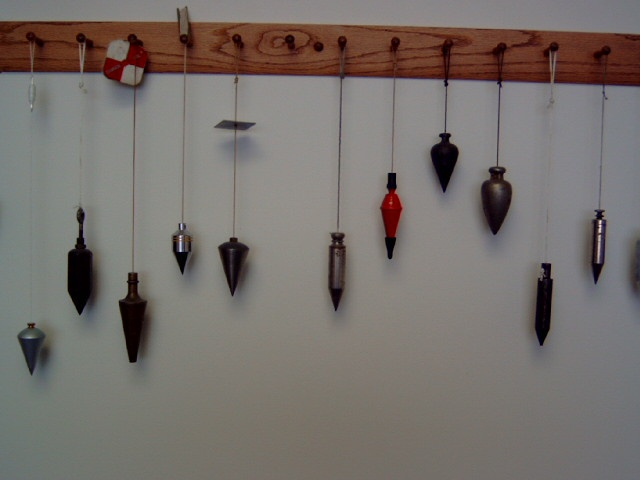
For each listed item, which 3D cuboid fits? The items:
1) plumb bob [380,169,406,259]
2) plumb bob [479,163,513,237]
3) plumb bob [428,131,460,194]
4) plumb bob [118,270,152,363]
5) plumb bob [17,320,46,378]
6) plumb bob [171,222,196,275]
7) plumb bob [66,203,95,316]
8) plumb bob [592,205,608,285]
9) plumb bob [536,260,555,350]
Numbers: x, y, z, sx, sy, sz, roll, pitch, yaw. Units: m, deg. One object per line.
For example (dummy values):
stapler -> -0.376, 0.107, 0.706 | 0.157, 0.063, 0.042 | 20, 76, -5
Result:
plumb bob -> 0.235, -0.081, 2.824 | 0.071, 0.289, 0.099 | 2, 6, 5
plumb bob -> 0.571, -0.132, 2.793 | 0.093, 0.215, 0.035 | 3, 6, 12
plumb bob -> 0.408, -0.257, 2.824 | 0.096, 0.197, 0.088 | 2, 7, 6
plumb bob -> -0.613, 0.257, 2.824 | 0.084, 0.310, 0.108 | 1, 6, -2
plumb bob -> -0.952, 0.356, 2.832 | 0.083, 0.184, 0.088 | 7, 7, 37
plumb bob -> -0.448, 0.026, 2.797 | 0.065, 0.164, 0.038 | -4, 8, -38
plumb bob -> -0.784, 0.067, 2.799 | 0.065, 0.347, 0.063 | 5, 7, 28
plumb bob -> 0.924, 0.020, 2.850 | 0.044, 0.250, 0.091 | 4, 7, 22
plumb bob -> 0.737, 0.214, 2.833 | 0.053, 0.280, 0.073 | 3, 7, 16
